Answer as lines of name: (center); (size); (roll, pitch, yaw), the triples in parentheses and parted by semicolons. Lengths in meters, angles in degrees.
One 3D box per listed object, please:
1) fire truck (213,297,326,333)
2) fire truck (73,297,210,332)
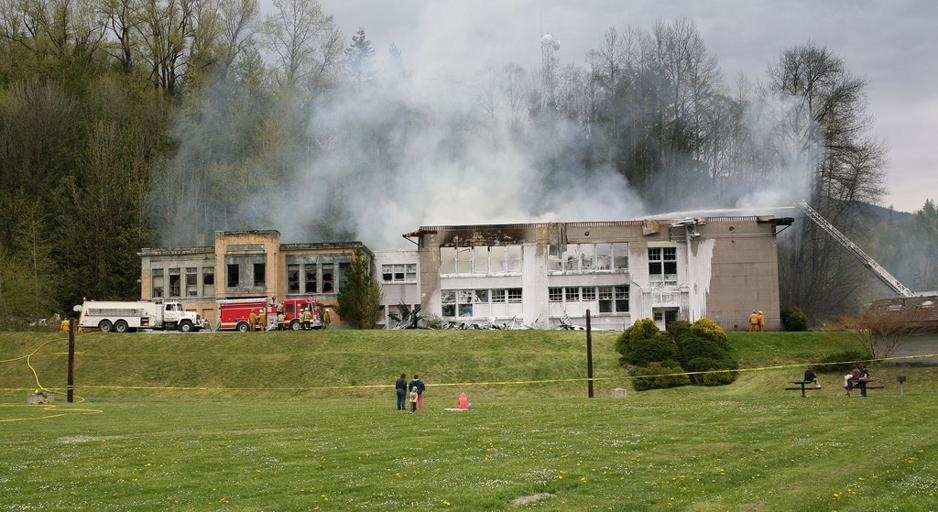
fire truck: (-24.744, 7.210, 163.096); (12.324, 3.698, 4.612); (0, -3, -12)
fire truck: (-39.868, 7.299, 162.921); (16.918, 4.583, 5.089); (0, -2, -9)
